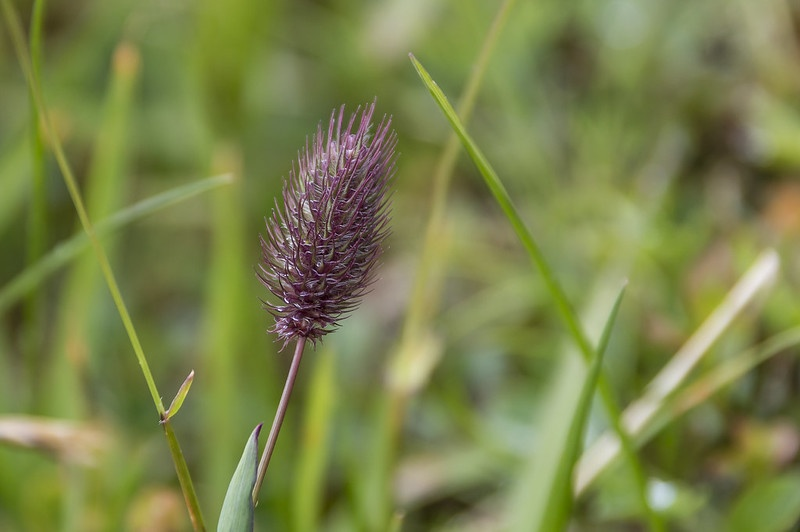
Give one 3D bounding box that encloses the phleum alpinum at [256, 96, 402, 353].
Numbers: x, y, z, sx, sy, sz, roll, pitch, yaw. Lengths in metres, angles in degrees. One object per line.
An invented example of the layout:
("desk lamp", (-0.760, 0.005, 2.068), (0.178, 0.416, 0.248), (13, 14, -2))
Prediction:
("phleum alpinum", (-0.082, -0.040, 1.041), (0.180, 0.231, 0.187), (-8, -27, -4))
